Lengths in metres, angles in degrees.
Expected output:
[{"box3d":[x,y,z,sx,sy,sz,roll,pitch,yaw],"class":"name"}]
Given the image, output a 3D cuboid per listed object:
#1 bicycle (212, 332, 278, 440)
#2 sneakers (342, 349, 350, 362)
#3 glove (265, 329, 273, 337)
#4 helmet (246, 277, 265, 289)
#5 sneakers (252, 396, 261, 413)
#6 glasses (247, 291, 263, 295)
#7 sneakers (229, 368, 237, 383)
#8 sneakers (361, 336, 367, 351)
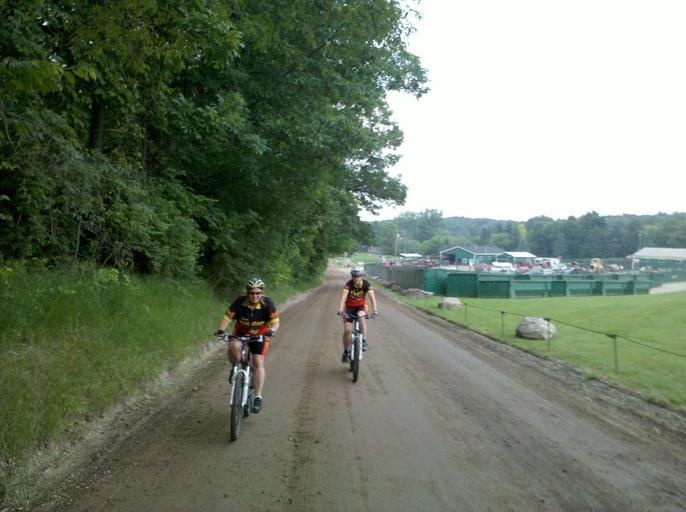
[{"box3d":[-1.873,2.319,10.886,0.696,1.864,1.324,2,-1,12],"class":"bicycle"},{"box3d":[0.102,2.306,13.717,0.168,0.278,0.277,0,-14,3],"class":"sneakers"},{"box3d":[-1.366,1.436,11.109,0.102,0.106,0.110,2,3,20],"class":"glove"},{"box3d":[-1.643,0.530,11.124,0.302,0.206,0.249,3,-2,-14],"class":"helmet"},{"box3d":[-1.570,2.722,10.865,0.105,0.140,0.318,2,13,-4],"class":"sneakers"},{"box3d":[-1.641,0.678,11.092,0.220,0.087,0.150,4,-2,-25],"class":"glasses"},{"box3d":[-1.965,2.135,10.684,0.104,0.282,0.358,3,-2,-9],"class":"sneakers"},{"box3d":[0.510,2.082,13.967,0.128,0.176,0.396,-1,-19,-1],"class":"sneakers"}]
